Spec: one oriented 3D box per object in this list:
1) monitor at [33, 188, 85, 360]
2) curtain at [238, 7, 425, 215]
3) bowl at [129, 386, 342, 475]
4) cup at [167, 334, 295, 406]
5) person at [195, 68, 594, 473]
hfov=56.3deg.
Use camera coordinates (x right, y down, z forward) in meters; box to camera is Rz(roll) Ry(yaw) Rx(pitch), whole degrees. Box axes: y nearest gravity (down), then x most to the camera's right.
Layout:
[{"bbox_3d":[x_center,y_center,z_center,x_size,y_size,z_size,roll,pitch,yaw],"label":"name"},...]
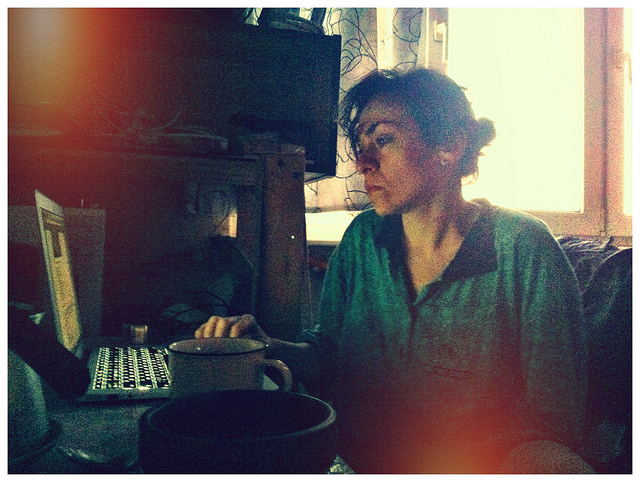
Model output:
[{"bbox_3d":[-0.536,0.078,1.221,0.004,0.368,0.383,-17,7,-16],"label":"monitor"},{"bbox_3d":[0.052,-0.357,1.626,0.425,0.580,0.314,4,5,33],"label":"curtain"},{"bbox_3d":[-0.125,0.275,0.877,0.224,0.081,0.157,2,-2,2],"label":"bowl"},{"bbox_3d":[-0.151,0.211,1.028,0.185,0.109,0.115,1,-2,7],"label":"cup"},{"bbox_3d":[0.126,0.110,1.992,0.902,1.549,1.013,13,-13,-36],"label":"person"}]
